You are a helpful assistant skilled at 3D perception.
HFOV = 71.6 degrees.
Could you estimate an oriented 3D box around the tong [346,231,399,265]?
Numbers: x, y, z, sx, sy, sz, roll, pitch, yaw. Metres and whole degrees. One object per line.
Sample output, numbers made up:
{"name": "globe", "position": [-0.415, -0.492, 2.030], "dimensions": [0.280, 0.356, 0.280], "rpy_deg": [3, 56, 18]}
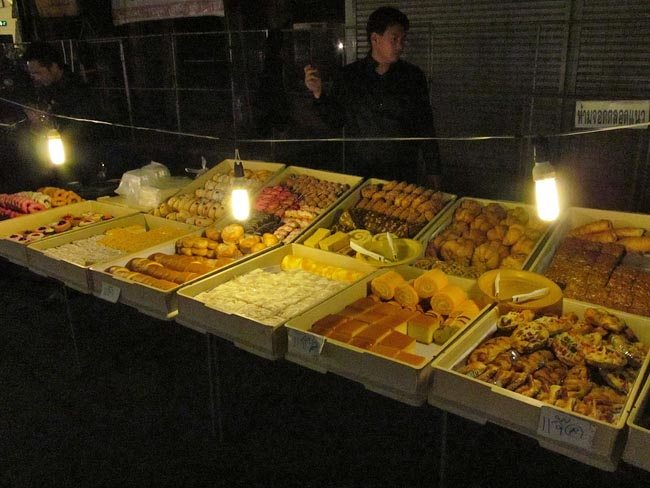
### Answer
{"name": "tong", "position": [0.319, -0.021, 3.249], "dimensions": [0.402, 0.197, 0.406], "rpy_deg": [-13, 19, -40]}

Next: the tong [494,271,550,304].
{"name": "tong", "position": [1.062, 0.234, 2.483], "dimensions": [0.294, 0.124, 0.261], "rpy_deg": [5, 16, 17]}

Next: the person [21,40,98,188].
{"name": "person", "position": [-2.791, -1.449, 5.028], "dimensions": [0.664, 1.470, 0.611], "rpy_deg": [19, 31, 35]}
